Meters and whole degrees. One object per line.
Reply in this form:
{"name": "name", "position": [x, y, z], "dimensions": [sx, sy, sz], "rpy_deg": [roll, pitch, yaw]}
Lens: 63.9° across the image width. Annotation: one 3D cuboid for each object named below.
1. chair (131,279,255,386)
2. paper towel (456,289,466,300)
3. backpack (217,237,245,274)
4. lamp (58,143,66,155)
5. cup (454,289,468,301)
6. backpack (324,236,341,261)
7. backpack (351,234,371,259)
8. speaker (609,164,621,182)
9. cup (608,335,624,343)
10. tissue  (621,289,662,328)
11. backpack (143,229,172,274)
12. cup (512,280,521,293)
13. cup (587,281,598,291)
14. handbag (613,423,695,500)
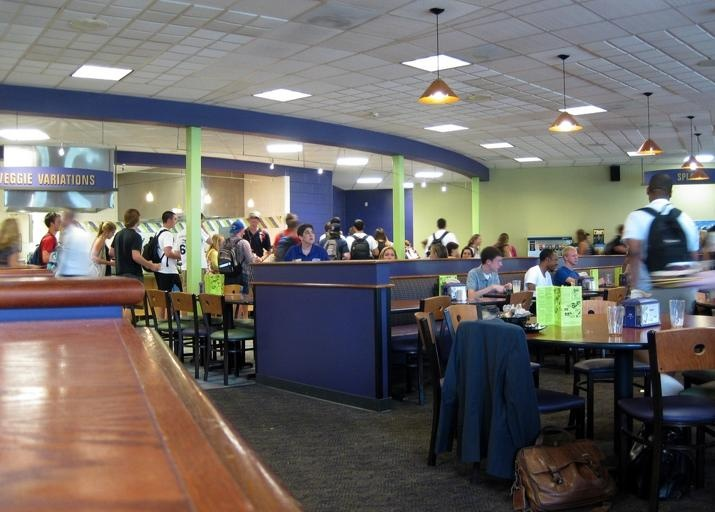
{"name": "chair", "position": [-1.901, 0.882, 6.881], "dimensions": [1.155, 1.011, 2.074], "rpy_deg": [-3, 2, -24]}
{"name": "paper towel", "position": [1.030, 0.382, 5.702], "dimensions": [0.117, 0.105, 0.097], "rpy_deg": [0, -2, -4]}
{"name": "backpack", "position": [-1.741, -0.004, 7.727], "dimensions": [0.391, 0.497, 0.192], "rpy_deg": [0, 3, 38]}
{"name": "lamp", "position": [-5.115, -1.825, 9.940], "dimensions": [0.114, 0.173, 0.044], "rpy_deg": [-3, 3, -22]}
{"name": "cup", "position": [1.012, 0.380, 5.708], "dimensions": [0.128, 0.129, 0.120], "rpy_deg": [1, 3, 0]}
{"name": "backpack", "position": [-0.420, -0.122, 8.833], "dimensions": [0.266, 0.342, 0.354], "rpy_deg": [1, 2, 15]}
{"name": "backpack", "position": [0.044, -0.051, 8.713], "dimensions": [0.279, 0.360, 0.356], "rpy_deg": [1, -30, 2]}
{"name": "speaker", "position": [7.510, -2.407, 16.691], "dimensions": [0.317, 0.475, 0.178], "rpy_deg": [-1, 3, 12]}
{"name": "cup", "position": [1.439, 0.456, 3.196], "dimensions": [0.052, 0.035, 0.052], "rpy_deg": [-1, -2, 0]}
{"name": "tissue ", "position": [1.793, 0.352, 3.688], "dimensions": [0.213, 0.242, 0.363], "rpy_deg": [-3, -4, 43]}
{"name": "backpack", "position": [-2.845, -0.129, 8.151], "dimensions": [0.512, 0.451, 0.358], "rpy_deg": [0, -1, -13]}
{"name": "cup", "position": [1.854, 0.356, 6.697], "dimensions": [0.135, 0.195, 0.132], "rpy_deg": [0, -4, 0]}
{"name": "cup", "position": [3.086, 0.391, 7.522], "dimensions": [0.137, 0.179, 0.129], "rpy_deg": [1, -3, 0]}
{"name": "handbag", "position": [1.721, 1.171, 3.299], "dimensions": [0.333, 0.389, 0.409], "rpy_deg": [0, 3, 34]}
